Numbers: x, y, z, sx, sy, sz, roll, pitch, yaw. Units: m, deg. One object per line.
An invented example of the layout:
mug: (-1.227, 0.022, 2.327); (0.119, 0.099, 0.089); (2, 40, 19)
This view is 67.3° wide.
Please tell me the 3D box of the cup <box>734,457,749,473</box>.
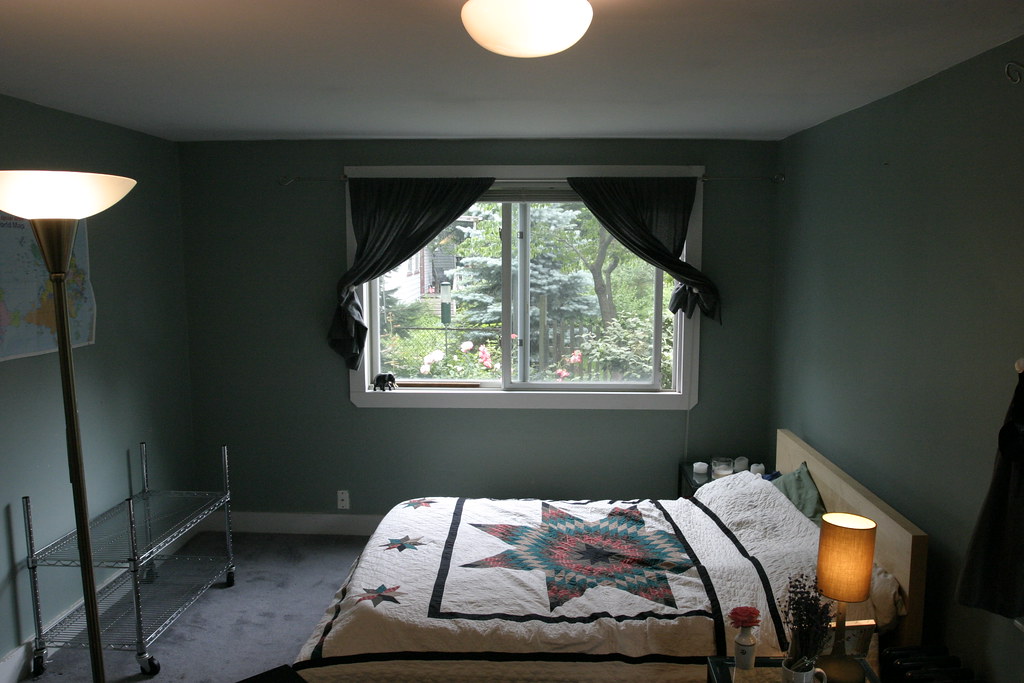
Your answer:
cup: (1.580, 0.840, 5.277); (0.099, 0.091, 0.096); (1, 3, 0)

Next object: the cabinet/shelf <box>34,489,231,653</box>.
cabinet/shelf: (-2.296, 1.410, 4.799); (0.763, 0.954, 1.463); (0, 0, 0)

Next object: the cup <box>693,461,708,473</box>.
cup: (1.294, 0.850, 5.258); (0.075, 0.042, 0.073); (0, 5, 0)

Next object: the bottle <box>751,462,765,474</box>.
bottle: (1.672, 0.854, 5.222); (0.093, 0.059, 0.092); (0, 0, 0)

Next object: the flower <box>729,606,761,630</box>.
flower: (1.048, 1.229, 3.478); (0.132, 0.087, 0.132); (2, 18, 13)

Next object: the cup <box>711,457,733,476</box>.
cup: (1.418, 0.835, 5.201); (0.122, 0.088, 0.110); (1, 6, 17)
